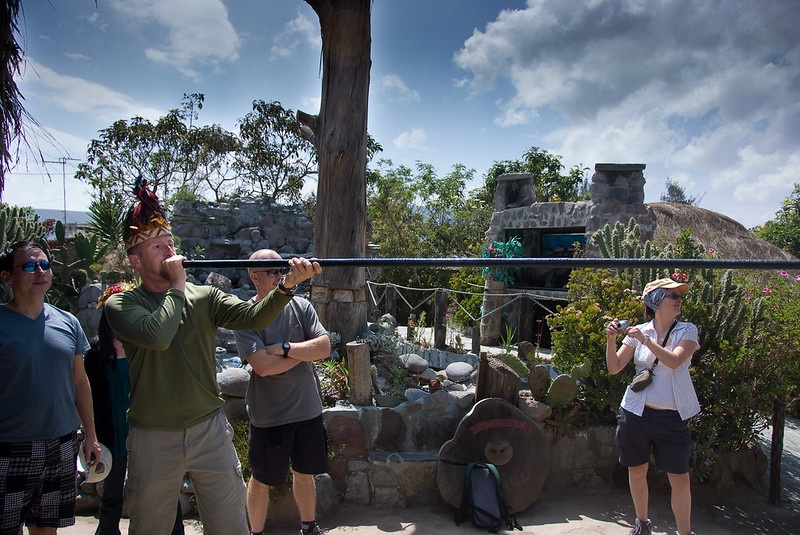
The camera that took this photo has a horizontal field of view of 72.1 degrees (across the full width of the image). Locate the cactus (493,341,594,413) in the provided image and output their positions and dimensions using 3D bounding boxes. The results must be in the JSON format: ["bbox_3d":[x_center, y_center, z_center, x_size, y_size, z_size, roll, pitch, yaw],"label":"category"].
[{"bbox_3d":[2.061,1.489,7.612,1.115,0.562,1.184,29,-2,-5],"label":"cactus"}]

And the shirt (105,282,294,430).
[{"bbox_3d":[-1.622,0.739,4.580,1.179,1.382,1.163,-11,-10,31],"label":"shirt"}]

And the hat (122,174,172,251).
[{"bbox_3d":[-2.036,-0.484,4.290,0.381,0.274,0.609,-2,-35,-37],"label":"hat"}]

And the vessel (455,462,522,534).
[{"bbox_3d":[1.058,2.731,6.560,0.715,0.570,0.379,3,1,15],"label":"vessel"}]
